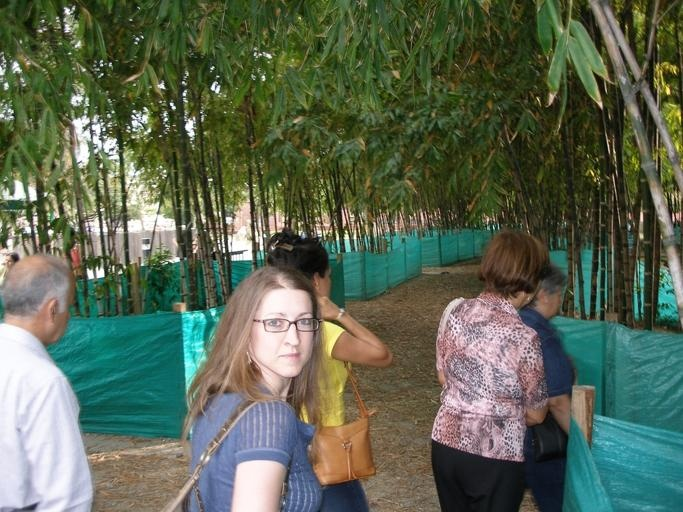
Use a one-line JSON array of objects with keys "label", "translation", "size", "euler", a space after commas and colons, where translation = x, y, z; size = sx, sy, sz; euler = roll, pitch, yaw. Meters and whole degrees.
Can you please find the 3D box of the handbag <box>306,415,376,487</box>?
[{"label": "handbag", "translation": [0.006, 0.667, 1.658], "size": [0.202, 0.221, 0.115], "euler": [-3, 0, -9]}]
